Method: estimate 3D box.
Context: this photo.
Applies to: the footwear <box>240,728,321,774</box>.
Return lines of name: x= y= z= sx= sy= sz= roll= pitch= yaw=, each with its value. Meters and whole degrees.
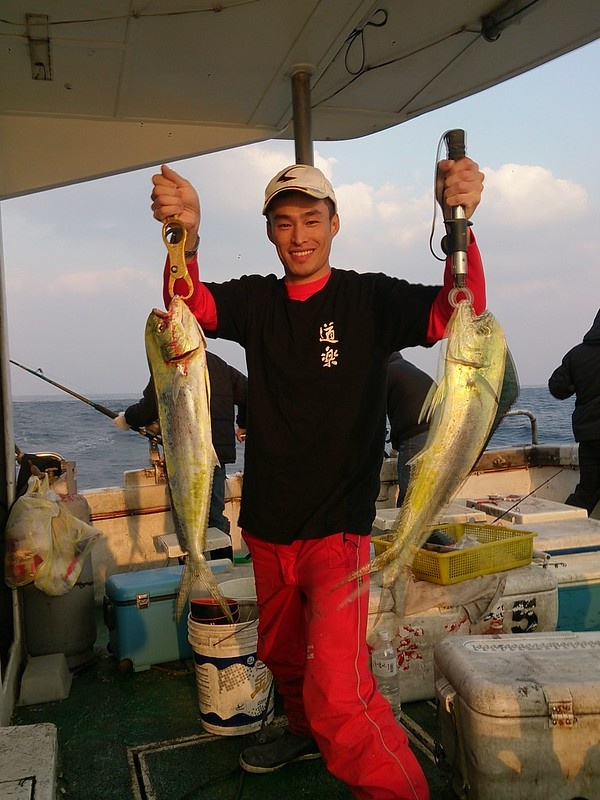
footwear: x=-0.098 y=1.564 z=3.108 sx=0.397 sy=0.138 sz=0.141 roll=3 pitch=4 yaw=-20

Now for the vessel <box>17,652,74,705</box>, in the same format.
vessel: x=-1.509 y=1.642 z=4.051 sx=0.288 sy=0.138 sz=0.326 roll=-7 pitch=8 yaw=-13

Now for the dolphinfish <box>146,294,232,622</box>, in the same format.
dolphinfish: x=-0.391 y=0.233 z=2.420 sx=0.223 sy=1.171 sz=0.247 roll=-8 pitch=5 yaw=-10

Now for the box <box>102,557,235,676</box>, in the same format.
box: x=-1.033 y=1.476 z=4.526 sx=0.528 sy=0.547 sz=0.881 roll=-24 pitch=-24 yaw=29

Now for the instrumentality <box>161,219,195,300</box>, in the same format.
instrumentality: x=-0.444 y=-0.504 z=2.488 sx=0.095 sy=0.294 sz=0.368 roll=-8 pitch=5 yaw=-8

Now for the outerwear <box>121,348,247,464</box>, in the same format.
outerwear: x=-0.816 y=0.061 z=5.496 sx=0.883 sy=1.221 sz=0.506 roll=-3 pitch=-5 yaw=0
